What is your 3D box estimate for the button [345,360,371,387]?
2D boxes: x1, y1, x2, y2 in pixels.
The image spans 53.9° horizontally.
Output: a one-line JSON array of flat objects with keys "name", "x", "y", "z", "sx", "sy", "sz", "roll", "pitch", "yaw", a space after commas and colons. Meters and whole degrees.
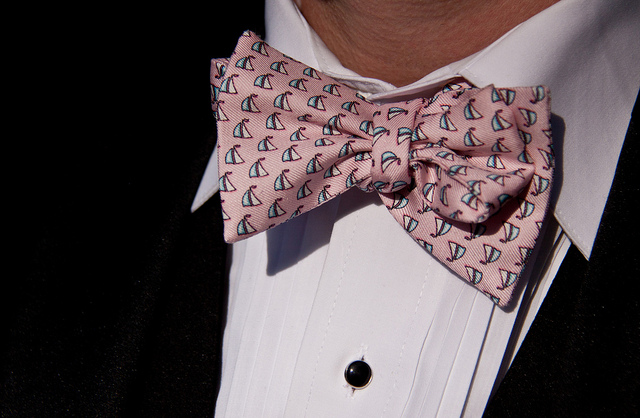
[{"name": "button", "x": 0.082, "y": 0.305, "z": 1.179, "sx": 0.016, "sy": 0.061, "sz": 0.059, "roll": 40, "pitch": -22, "yaw": -13}]
